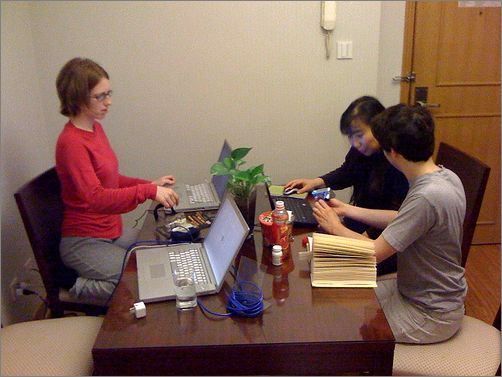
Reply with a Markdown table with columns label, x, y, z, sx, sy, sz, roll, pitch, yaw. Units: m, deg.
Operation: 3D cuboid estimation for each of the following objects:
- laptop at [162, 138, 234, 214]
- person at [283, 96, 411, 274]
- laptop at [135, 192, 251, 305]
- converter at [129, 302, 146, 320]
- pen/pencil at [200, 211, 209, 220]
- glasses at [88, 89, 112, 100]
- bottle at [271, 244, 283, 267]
| label | x | y | z | sx | sy | sz | roll | pitch | yaw |
| --- | --- | --- | --- | --- | --- | --- | --- | --- | --- |
| laptop | -0.242 | 0.003 | 1.912 | 0.330 | 0.259 | 0.421 | -2 | 28 | -4 |
| person | 0.421 | -0.039 | 1.691 | 0.495 | 0.879 | 0.456 | -14 | 33 | 3 |
| laptop | -0.195 | 0.229 | 1.326 | 0.354 | 0.224 | 0.352 | -1 | 27 | -8 |
| converter | -0.340 | 0.368 | 1.154 | 0.048 | 0.035 | 0.035 | -6 | 24 | -20 |
| pen/pencil | -0.206 | 0.121 | 1.734 | 0.020 | 0.021 | 0.067 | -9 | 19 | -11 |
| glasses | -0.657 | -0.413 | 1.707 | 0.041 | 0.041 | 0.105 | 2 | 22 | 18 |
| bottle | 0.092 | 0.241 | 1.358 | 0.048 | 0.074 | 0.047 | 0 | 16 | 0 |
